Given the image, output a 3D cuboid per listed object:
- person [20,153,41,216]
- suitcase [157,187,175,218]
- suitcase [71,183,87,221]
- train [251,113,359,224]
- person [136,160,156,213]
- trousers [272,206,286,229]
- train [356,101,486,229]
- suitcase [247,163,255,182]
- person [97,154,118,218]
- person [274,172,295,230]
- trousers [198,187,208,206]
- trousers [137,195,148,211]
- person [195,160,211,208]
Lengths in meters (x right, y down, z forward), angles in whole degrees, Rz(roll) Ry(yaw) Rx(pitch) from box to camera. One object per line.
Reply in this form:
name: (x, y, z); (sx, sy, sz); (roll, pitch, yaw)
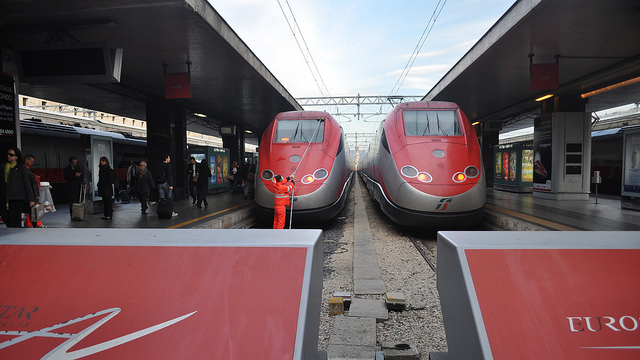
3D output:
person: (-6.938, 0.139, 8.361); (0.270, 1.248, 0.652); (-8, 12, -39)
suitcase: (-4.798, 0.690, 10.738); (0.455, 0.805, 0.939); (-5, 10, -26)
suitcase: (-7.383, 0.639, 10.662); (0.471, 1.060, 0.816); (-7, 11, -35)
train: (-0.561, -0.410, 9.804); (2.425, 2.834, 1.961); (-2, 9, -8)
person: (-5.939, 0.210, 11.829); (0.491, 1.796, 1.223); (-6, 10, -27)
trousers: (-1.043, 0.923, 8.864); (0.284, 0.568, 0.339); (-2, 9, -5)
train: (2.922, -0.519, 9.103); (2.504, 3.112, 2.038); (3, 10, 26)
suitcase: (-2.866, -0.229, 14.442); (0.154, 0.471, 0.368); (17, -17, -33)
person: (-6.733, 0.173, 11.067); (0.480, 1.855, 1.470); (-6, 10, -30)
person: (-0.931, 0.517, 8.984); (0.554, 1.247, 0.677); (-2, 9, -5)
trousers: (-4.392, 0.569, 12.934); (0.287, 0.765, 1.057); (-4, 9, -17)
trousers: (-6.220, 0.773, 12.225); (0.251, 0.370, 0.616); (-10, 4, -37)
person: (-4.363, 0.105, 12.872); (0.538, 1.757, 1.057); (-4, 9, -17)
